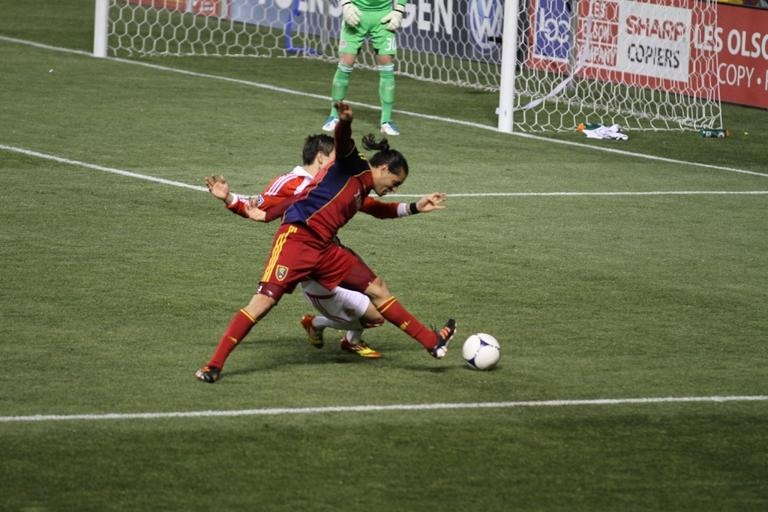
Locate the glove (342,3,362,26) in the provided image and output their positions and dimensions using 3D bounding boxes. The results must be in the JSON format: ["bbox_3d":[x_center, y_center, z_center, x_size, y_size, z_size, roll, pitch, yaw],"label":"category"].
[{"bbox_3d":[-0.419,-2.875,13.805,0.261,0.273,0.161,10,8,13],"label":"glove"}]

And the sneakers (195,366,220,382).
[{"bbox_3d":[-1.227,0.815,8.075,0.172,0.120,0.142,7,7,-10],"label":"sneakers"}]

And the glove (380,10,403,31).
[{"bbox_3d":[0.084,-2.810,13.930,0.222,0.256,0.091,36,-19,14],"label":"glove"}]

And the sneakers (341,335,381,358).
[{"bbox_3d":[-0.188,0.685,8.654,0.359,0.117,0.121,13,4,7],"label":"sneakers"}]

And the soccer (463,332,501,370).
[{"bbox_3d":[0.690,0.689,8.323,0.292,0.247,0.259,-17,-29,-3],"label":"soccer"}]
